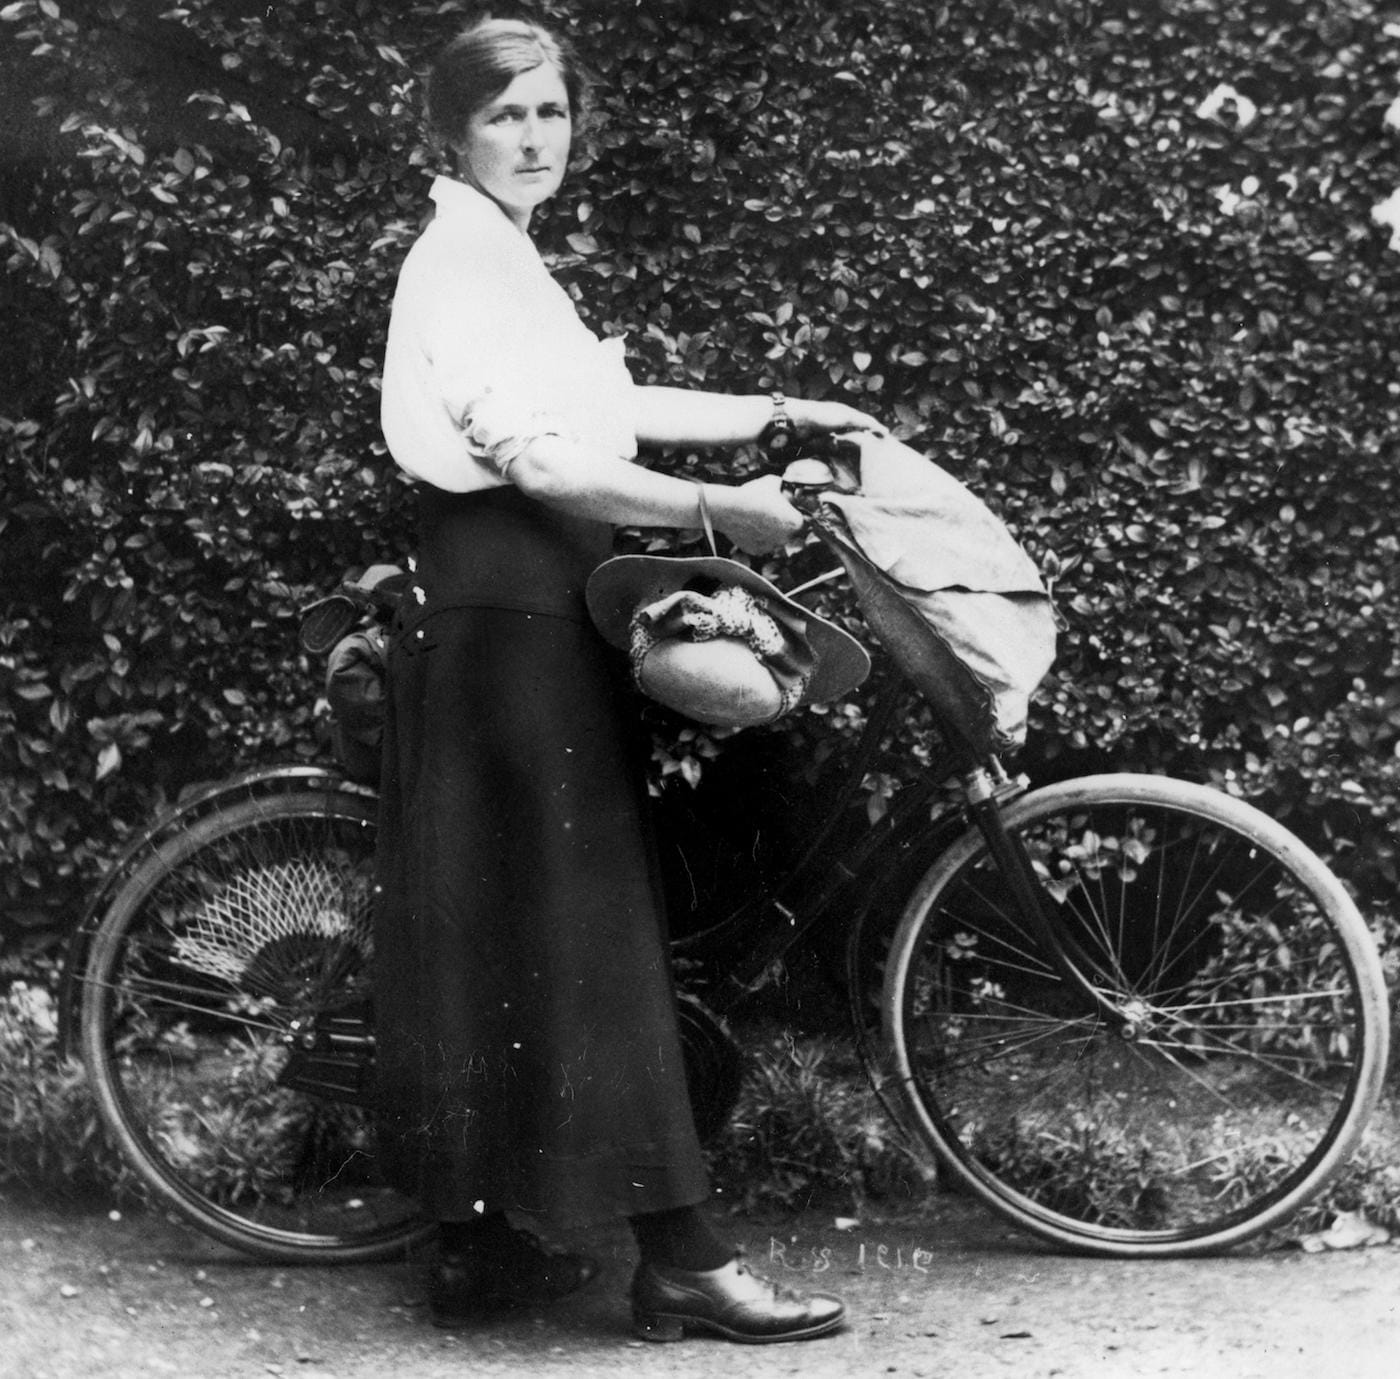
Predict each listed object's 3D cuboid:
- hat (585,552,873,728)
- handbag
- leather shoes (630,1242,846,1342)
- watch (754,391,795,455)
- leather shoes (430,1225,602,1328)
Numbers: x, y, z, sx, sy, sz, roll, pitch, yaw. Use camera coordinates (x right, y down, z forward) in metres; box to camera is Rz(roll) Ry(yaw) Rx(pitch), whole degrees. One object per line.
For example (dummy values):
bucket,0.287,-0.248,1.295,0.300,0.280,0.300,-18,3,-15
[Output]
hat,0.052,-0.125,3.182,0.405,0.270,0.109,19,71,1
handbag,0.438,-0.165,3.306,0.507,0.159,0.354,44,36,-22
leather shoes,0.051,1.019,3.319,0.375,0.128,0.141,-1,84,-3
watch,0.135,-0.471,3.497,0.061,0.090,0.095,-3,18,-6
leather shoes,-0.354,1.002,3.438,0.322,0.120,0.203,-5,92,-23
